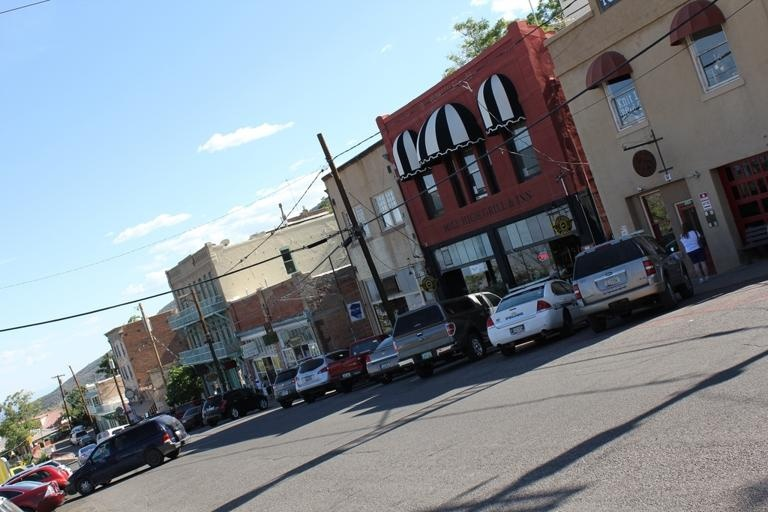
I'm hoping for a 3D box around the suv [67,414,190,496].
[{"bbox_3d":[-10.576,8.133,24.134,4.590,1.646,1.014,-20,-7,9],"label":"suv"}]

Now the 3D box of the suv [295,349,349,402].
[{"bbox_3d":[-2.712,5.859,29.206,1.547,1.410,3.292,-15,-2,25],"label":"suv"}]

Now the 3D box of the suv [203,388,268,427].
[{"bbox_3d":[-9.917,9.795,38.560,4.142,1.624,2.349,-19,-7,-2],"label":"suv"}]

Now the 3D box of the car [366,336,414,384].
[{"bbox_3d":[0.124,4.576,24.718,1.258,1.207,2.692,-8,-4,26],"label":"car"}]

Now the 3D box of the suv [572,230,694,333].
[{"bbox_3d":[7.805,0.485,18.293,2.198,1.875,3.656,-20,2,33],"label":"suv"}]

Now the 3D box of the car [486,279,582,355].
[{"bbox_3d":[4.871,1.947,19.101,3.033,2.248,1.682,-18,-7,0],"label":"car"}]

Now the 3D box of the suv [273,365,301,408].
[{"bbox_3d":[-5.242,7.103,31.288,1.269,1.312,2.354,-4,1,21],"label":"suv"}]
